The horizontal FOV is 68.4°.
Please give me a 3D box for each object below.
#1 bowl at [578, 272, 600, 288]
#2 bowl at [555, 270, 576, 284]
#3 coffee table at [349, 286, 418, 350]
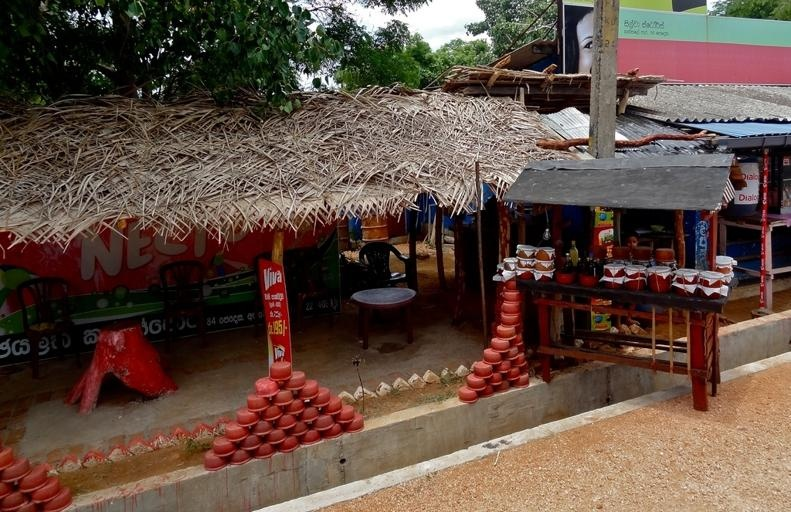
[{"bbox_3d":[2.787,0.333,8.323,0.219,0.123,0.204,0,8,0],"label":"bowl"},{"bbox_3d":[2.517,0.302,8.489,0.213,0.103,0.204,1,7,0],"label":"bowl"},{"bbox_3d":[-0.201,1.186,11.258,1.325,0.868,1.286,-1,9,7],"label":"coffee table"}]
